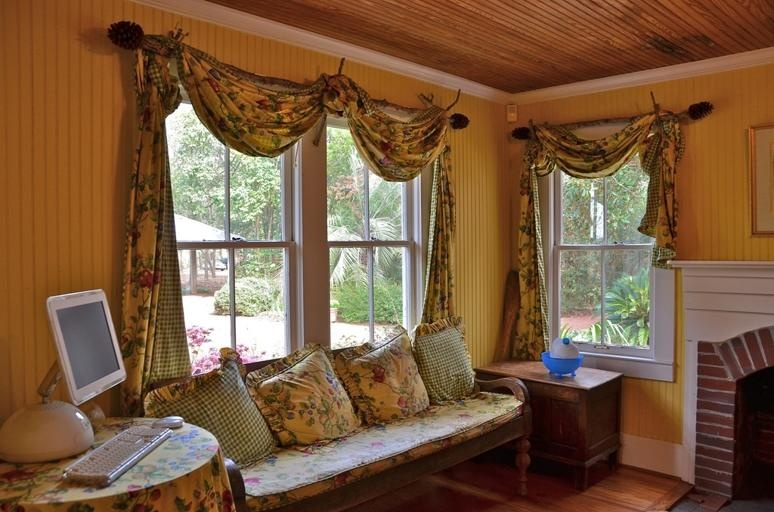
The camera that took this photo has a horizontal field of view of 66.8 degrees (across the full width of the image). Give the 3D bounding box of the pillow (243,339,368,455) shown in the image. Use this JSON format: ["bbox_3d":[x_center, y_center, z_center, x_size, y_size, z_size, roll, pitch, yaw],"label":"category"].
[{"bbox_3d":[-0.535,0.905,3.675,0.583,0.558,0.169,-5,-29,-50],"label":"pillow"}]

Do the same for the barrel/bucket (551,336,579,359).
[{"bbox_3d":[1.406,0.723,4.668,0.174,0.157,0.168,-1,2,0],"label":"barrel/bucket"}]

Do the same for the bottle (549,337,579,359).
[{"bbox_3d":[1.401,0.725,4.658,0.175,0.155,0.169,-3,5,-24],"label":"bottle"}]

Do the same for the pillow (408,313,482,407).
[{"bbox_3d":[0.514,0.821,4.515,0.193,0.626,0.683,-1,-32,-42],"label":"pillow"}]

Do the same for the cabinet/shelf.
[{"bbox_3d":[1.389,1.159,4.886,1.188,0.856,0.776,1,1,42],"label":"cabinet/shelf"}]

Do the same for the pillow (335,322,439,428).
[{"bbox_3d":[0.042,0.857,4.003,0.576,0.545,0.168,-7,-14,-36],"label":"pillow"}]

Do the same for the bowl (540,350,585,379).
[{"bbox_3d":[1.384,0.847,4.640,0.228,0.119,0.221,-1,-5,0],"label":"bowl"}]
